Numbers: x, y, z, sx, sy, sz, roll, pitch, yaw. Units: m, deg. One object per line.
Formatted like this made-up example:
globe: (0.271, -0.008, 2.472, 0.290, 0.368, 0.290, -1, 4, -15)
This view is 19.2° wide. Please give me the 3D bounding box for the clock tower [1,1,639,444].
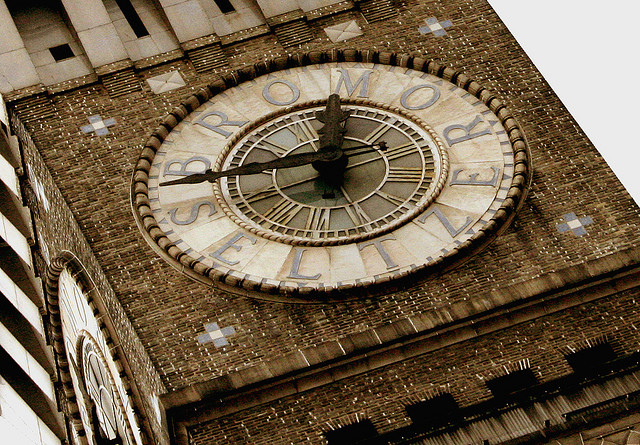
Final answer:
clock tower: (0.258, 0.085, 55.030, 28.707, 20.692, 4.445, -3, -67, -3)
